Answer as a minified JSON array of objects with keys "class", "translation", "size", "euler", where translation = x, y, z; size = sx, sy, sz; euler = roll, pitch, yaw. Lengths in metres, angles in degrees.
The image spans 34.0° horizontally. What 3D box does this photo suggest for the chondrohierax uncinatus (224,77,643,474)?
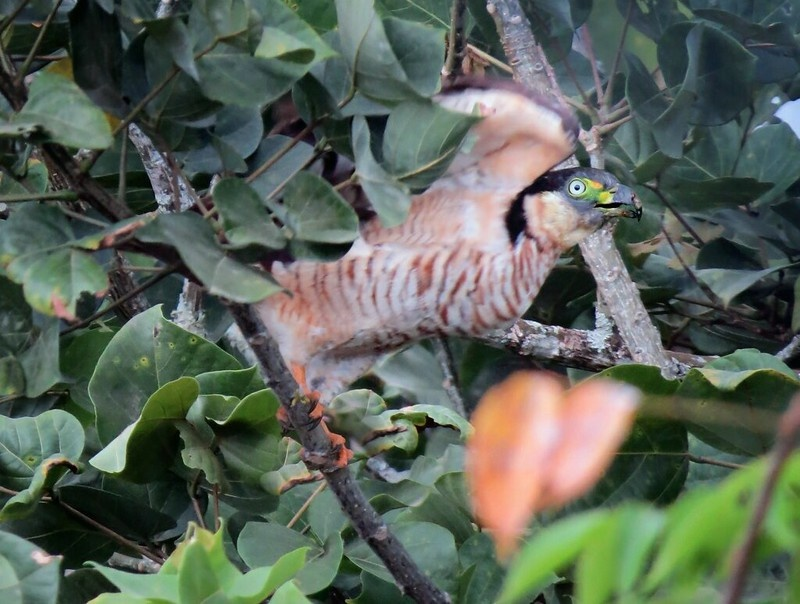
[{"class":"chondrohierax uncinatus","translation":[0.016,-0.054,1.714],"size":[0.519,0.315,0.484],"euler":[14,94,13]}]
